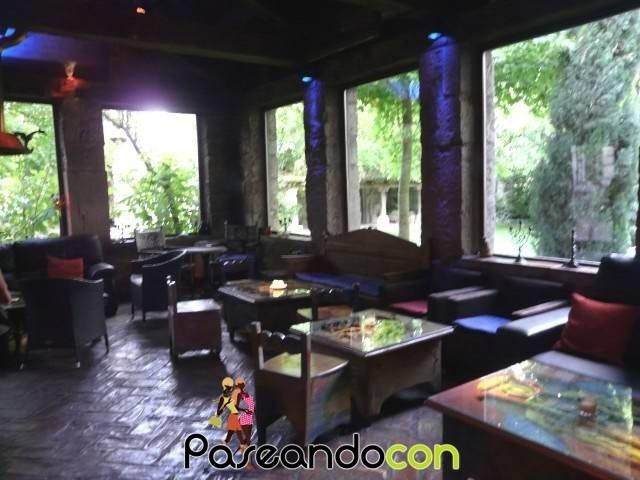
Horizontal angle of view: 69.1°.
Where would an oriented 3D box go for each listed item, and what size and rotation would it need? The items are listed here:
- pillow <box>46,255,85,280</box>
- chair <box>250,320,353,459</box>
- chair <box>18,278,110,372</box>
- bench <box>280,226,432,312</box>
[{"bbox_3d":[-3.413,0.353,6.131,0.449,0.255,0.306,-4,12,-16],"label":"pillow"},{"bbox_3d":[-0.155,0.957,3.315,0.646,0.824,0.615,-2,8,-22],"label":"chair"},{"bbox_3d":[-2.729,0.785,4.922,0.689,0.847,0.757,-2,3,-5],"label":"chair"},{"bbox_3d":[0.386,0.414,5.847,0.681,1.147,2.144,0,3,-33],"label":"bench"}]
